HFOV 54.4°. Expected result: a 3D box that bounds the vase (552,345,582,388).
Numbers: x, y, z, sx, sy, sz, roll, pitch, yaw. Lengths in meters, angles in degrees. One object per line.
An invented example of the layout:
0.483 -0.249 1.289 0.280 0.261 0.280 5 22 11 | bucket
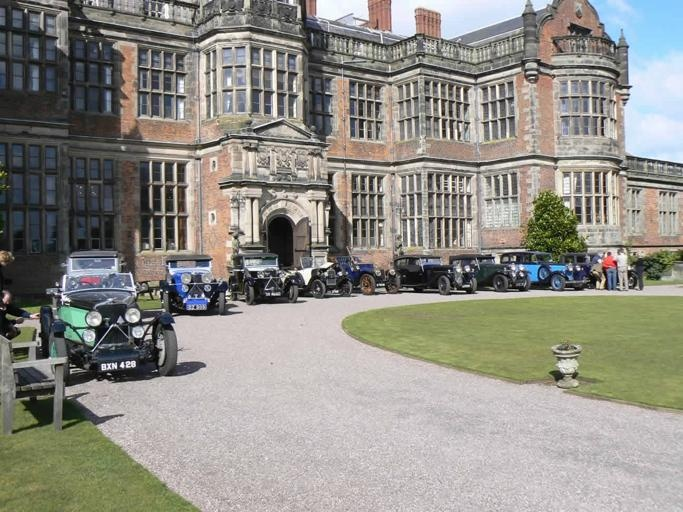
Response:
3.797 1.807 11.210 0.430 0.775 0.672 -2 0 20 | vase

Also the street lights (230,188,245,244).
-4.576 -1.584 28.909 0.646 2.307 0.502 -2 0 -10 | street lights
